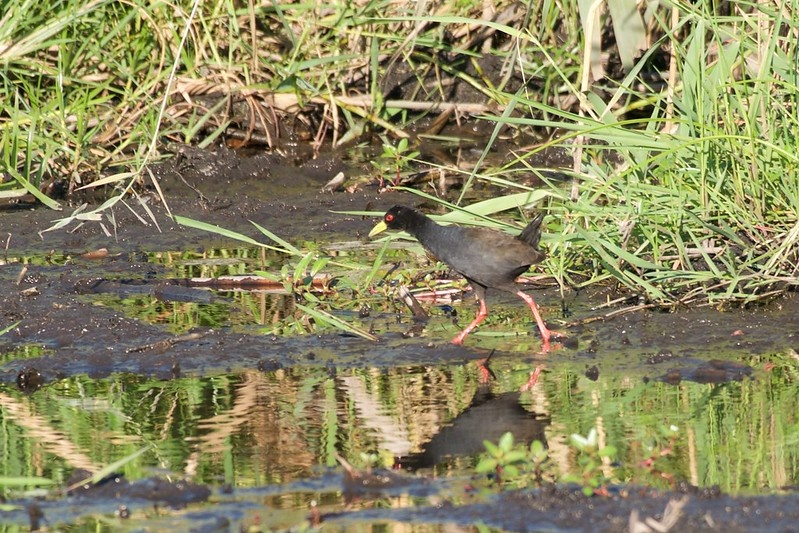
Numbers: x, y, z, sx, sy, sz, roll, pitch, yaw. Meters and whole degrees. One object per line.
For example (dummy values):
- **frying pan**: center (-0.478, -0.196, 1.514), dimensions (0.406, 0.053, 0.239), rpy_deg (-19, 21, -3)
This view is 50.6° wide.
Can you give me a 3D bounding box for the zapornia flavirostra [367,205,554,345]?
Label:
- **zapornia flavirostra**: center (0.338, 0.027, 5.612), dimensions (1.380, 0.377, 0.686), rpy_deg (5, 99, -18)
